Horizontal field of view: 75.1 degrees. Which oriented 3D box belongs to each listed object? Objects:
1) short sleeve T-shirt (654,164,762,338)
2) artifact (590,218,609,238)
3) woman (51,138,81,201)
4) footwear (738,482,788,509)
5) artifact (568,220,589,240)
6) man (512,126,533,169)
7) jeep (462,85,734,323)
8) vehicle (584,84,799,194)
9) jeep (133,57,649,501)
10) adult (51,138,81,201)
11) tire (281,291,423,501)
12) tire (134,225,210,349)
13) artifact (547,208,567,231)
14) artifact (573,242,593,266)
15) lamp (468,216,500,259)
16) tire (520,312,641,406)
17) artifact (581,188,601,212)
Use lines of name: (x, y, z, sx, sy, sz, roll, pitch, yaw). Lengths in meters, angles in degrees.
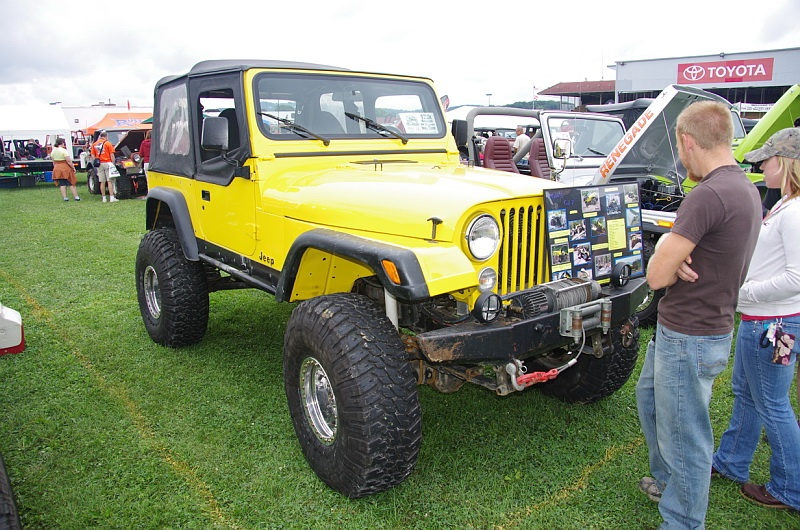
short sleeve T-shirt: (1.873, -0.083, 3.166, 0.523, 1.020, 0.213, -2, 13, -2)
artifact: (1.471, -0.281, 3.853, 0.149, 0.143, 0.035, 0, -2, -27)
woman: (-10.106, -2.873, 15.653, 0.691, 1.852, 0.671, -5, 8, -4)
footwear: (2.529, 1.624, 3.635, 0.256, 0.113, 0.108, 15, 15, 39)
artifact: (1.289, -0.252, 3.788, 0.142, 0.137, 0.041, -2, -1, -24)
man: (2.583, -2.641, 11.464, 0.414, 0.804, 0.449, -16, 12, -43)
jeep: (2.275, -1.038, 7.894, 2.587, 2.861, 4.484, -6, 11, -26)
vehicle: (3.790, -1.577, 6.671, 2.704, 1.694, 1.598, -2, 7, -5)
jeep: (-0.744, -0.357, 5.554, 3.036, 3.283, 5.721, -9, 17, -40)
adult: (-10.093, -2.864, 15.646, 0.690, 1.841, 0.664, -4, 8, 2)
tire: (-0.317, 0.928, 3.604, 0.415, 1.116, 1.089, -4, 27, -34)
tire: (-2.374, 0.240, 5.453, 0.355, 1.045, 1.013, -6, 23, -39)
artifact: (1.118, -0.325, 3.725, 0.170, 0.147, 0.033, -7, 14, -22)
artifact: (1.327, -0.080, 3.806, 0.161, 0.159, 0.038, -2, 5, -28)
lamp: (0.557, -0.191, 3.546, 0.289, 0.325, 0.091, 0, -1, -22)
tire: (1.404, 0.732, 4.055, 0.381, 0.912, 0.888, -6, 4, -36)
artifact: (1.400, -0.480, 3.836, 0.188, 0.172, 0.055, -11, 16, -36)
